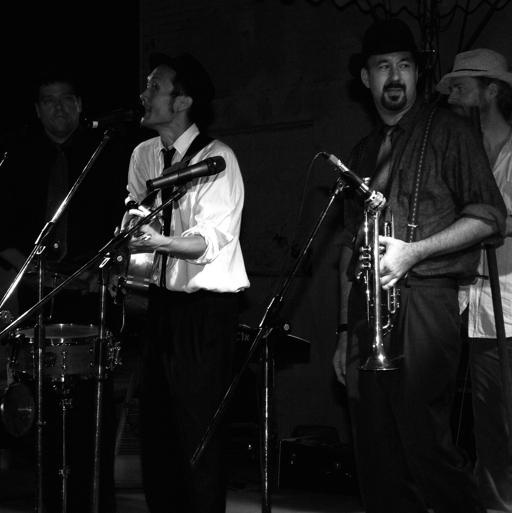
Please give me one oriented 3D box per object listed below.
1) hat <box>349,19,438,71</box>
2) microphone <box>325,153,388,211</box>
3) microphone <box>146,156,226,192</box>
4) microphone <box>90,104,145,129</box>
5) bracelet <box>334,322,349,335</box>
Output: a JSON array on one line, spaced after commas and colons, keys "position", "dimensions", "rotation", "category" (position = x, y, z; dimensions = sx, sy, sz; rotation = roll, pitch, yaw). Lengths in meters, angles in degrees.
[{"position": [0.606, -0.966, 3.234], "dimensions": [0.317, 0.268, 0.454], "rotation": [9, 18, 28], "category": "hat"}, {"position": [0.357, -0.275, 2.690], "dimensions": [0.211, 0.241, 0.174], "rotation": [2, 10, -12], "category": "microphone"}, {"position": [-0.270, -0.303, 2.619], "dimensions": [0.255, 0.146, 0.206], "rotation": [0, 7, -35], "category": "microphone"}, {"position": [-0.569, -0.573, 2.993], "dimensions": [0.235, 0.086, 0.078], "rotation": [-15, 0, -31], "category": "microphone"}, {"position": [0.378, 0.321, 3.191], "dimensions": [0.053, 0.050, 0.052], "rotation": [11, -15, -39], "category": "bracelet"}]
